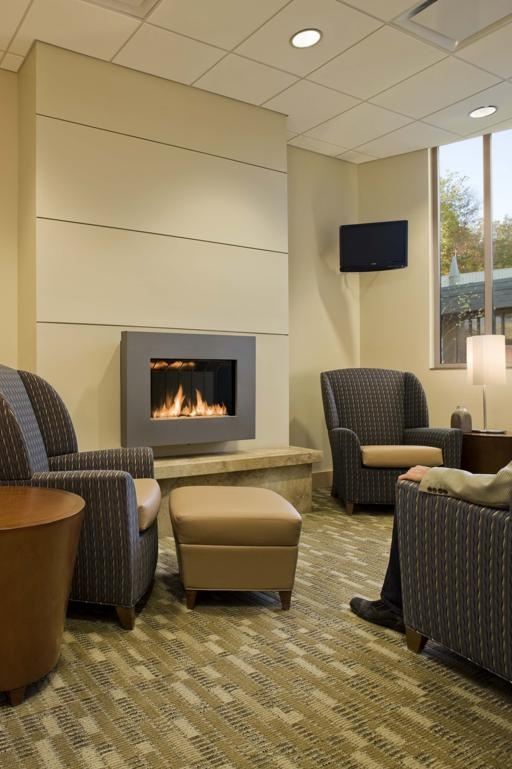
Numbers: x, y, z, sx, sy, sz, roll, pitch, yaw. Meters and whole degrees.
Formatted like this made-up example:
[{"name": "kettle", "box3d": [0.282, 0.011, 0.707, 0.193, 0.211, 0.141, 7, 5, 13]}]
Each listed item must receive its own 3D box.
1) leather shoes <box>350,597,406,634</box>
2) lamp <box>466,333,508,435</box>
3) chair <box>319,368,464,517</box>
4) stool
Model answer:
[{"name": "leather shoes", "box3d": [0.436, 0.831, 2.036, 0.060, 0.085, 0.186, 8, 1, -28]}, {"name": "lamp", "box3d": [1.744, -0.032, 4.200, 0.256, 0.766, 0.691, -1, -4, 25]}, {"name": "chair", "box3d": [0.893, 0.372, 4.226, 0.856, 1.156, 1.022, 2, -11, -6]}, {"name": "stool", "box3d": [-0.085, 0.611, 2.274, 0.420, 0.347, 0.441, 2, -5, -1]}]
